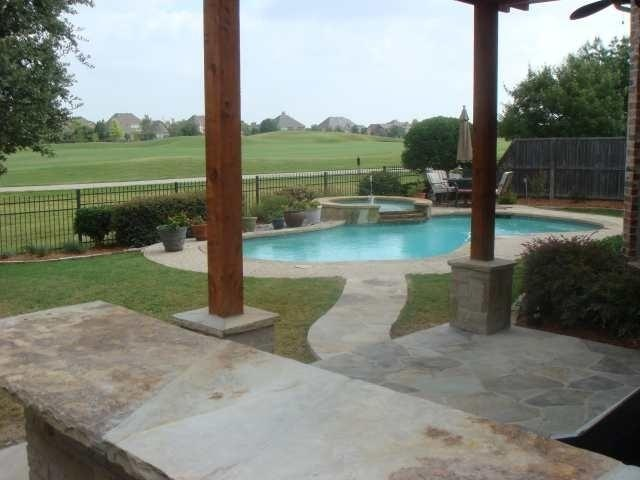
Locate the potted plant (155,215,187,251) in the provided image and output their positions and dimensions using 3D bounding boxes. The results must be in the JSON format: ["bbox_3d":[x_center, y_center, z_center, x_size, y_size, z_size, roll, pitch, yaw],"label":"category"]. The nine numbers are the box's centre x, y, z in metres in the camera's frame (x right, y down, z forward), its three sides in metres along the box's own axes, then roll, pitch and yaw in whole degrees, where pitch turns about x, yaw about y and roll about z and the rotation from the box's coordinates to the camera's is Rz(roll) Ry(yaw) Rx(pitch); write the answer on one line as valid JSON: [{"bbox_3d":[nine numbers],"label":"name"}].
[{"bbox_3d":[-3.607,-0.156,12.171,0.807,0.887,0.798,1,4,0],"label":"potted plant"}]

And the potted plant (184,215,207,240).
[{"bbox_3d":[-3.382,-0.337,13.152,0.735,0.809,0.724,-1,2,-5],"label":"potted plant"}]

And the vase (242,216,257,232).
[{"bbox_3d":[-2.181,-0.476,15.037,0.606,0.457,0.612,0,0,-6],"label":"vase"}]

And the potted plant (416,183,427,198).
[{"bbox_3d":[4.569,-2.243,22.100,0.582,0.403,0.595,1,7,15],"label":"potted plant"}]

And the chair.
[{"bbox_3d":[6.230,-2.175,20.753,3.186,1.402,2.492,5,9,18],"label":"chair"}]

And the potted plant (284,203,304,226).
[{"bbox_3d":[-0.868,-0.768,15.943,0.609,0.561,0.640,0,2,-3],"label":"potted plant"}]

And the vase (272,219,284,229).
[{"bbox_3d":[-1.318,-0.525,15.702,0.464,0.369,0.261,-4,10,-38],"label":"vase"}]

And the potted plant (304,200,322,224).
[{"bbox_3d":[-0.175,-0.911,16.432,0.681,0.521,0.693,0,11,1],"label":"potted plant"}]
